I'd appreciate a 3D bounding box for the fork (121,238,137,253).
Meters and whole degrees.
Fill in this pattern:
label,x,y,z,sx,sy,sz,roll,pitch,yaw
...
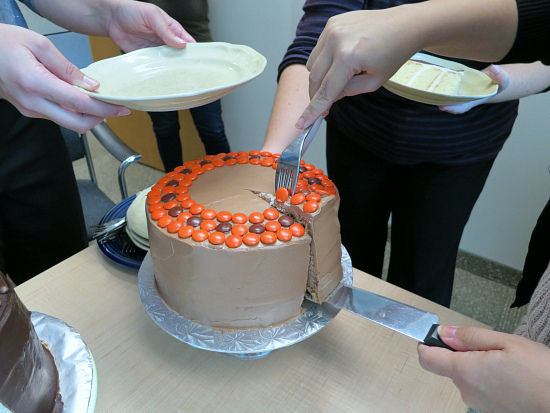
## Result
label,x,y,z,sx,sy,sz,roll,pitch,yaw
fork,-0.422,0.111,1.163,0.023,0.009,0.041,18,25,-14

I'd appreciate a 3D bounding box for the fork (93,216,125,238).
label,x,y,z,sx,sy,sz,roll,pitch,yaw
fork,-0.488,0.063,1.196,0.102,0.013,0.012,-35,61,-21

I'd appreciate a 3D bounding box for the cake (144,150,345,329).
label,x,y,z,sx,sy,sz,roll,pitch,yaw
cake,-0.095,0.137,0.995,0.413,0.272,0.410,24,43,27
